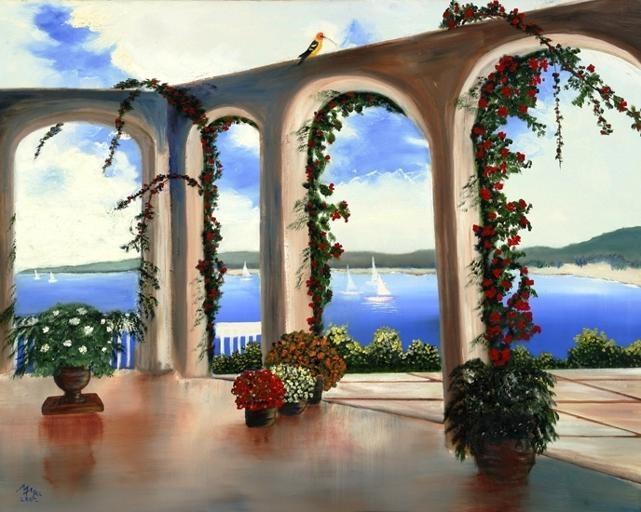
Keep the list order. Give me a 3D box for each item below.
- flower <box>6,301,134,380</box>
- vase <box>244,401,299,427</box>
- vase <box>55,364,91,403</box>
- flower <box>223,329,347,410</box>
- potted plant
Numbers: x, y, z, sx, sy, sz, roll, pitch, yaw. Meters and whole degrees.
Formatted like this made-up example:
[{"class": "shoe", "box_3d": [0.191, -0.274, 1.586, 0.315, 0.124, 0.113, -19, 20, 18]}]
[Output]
[{"class": "flower", "box_3d": [-2.655, 0.809, 7.171, 1.246, 0.733, 0.846, 0, 3, -14]}, {"class": "vase", "box_3d": [-0.483, 1.581, 6.607, 0.369, 0.115, 0.240, 1, -6, -34]}, {"class": "vase", "box_3d": [-2.566, 1.309, 6.860, 0.373, 0.409, 0.376, -1, -8, 7]}, {"class": "flower", "box_3d": [-0.214, 1.184, 7.092, 0.769, 0.860, 0.885, 3, -7, -10]}, {"class": "potted plant", "box_3d": [1.611, 1.359, 5.989, 0.975, 1.010, 0.923, 1, -8, 15]}]
